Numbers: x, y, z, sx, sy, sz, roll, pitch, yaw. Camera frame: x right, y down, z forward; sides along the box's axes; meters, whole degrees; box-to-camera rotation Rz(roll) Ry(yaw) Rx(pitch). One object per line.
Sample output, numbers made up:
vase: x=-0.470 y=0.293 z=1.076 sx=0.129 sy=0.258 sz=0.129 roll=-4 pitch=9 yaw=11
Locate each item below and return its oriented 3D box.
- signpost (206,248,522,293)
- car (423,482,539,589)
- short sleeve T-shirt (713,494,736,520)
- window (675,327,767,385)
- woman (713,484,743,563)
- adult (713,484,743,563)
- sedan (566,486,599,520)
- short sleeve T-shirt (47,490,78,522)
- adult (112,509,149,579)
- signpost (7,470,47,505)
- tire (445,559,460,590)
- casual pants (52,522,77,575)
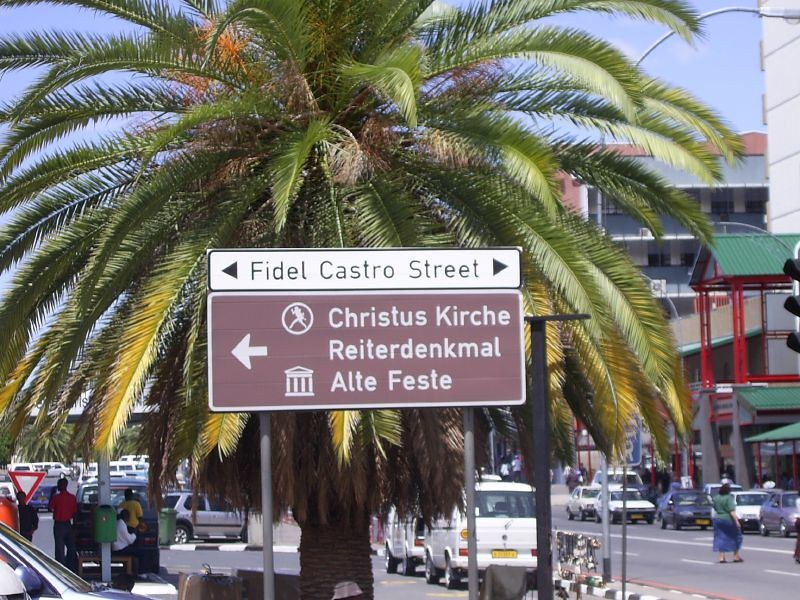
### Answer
signpost: x=-0.301 y=-0.265 z=12.593 sx=2.866 sy=0.383 sz=0.120 roll=-1 pitch=-11 yaw=-6
car: x=1.765 y=4.962 z=28.468 sx=1.847 sy=2.160 sz=3.595 roll=5 pitch=-10 yaw=-12
short sleeve T-shirt: x=7.518 y=4.742 z=31.421 sx=0.398 sy=0.590 sz=0.758 roll=-1 pitch=-12 yaw=-2
window: x=15.442 y=2.756 z=65.842 sx=4.206 sy=2.211 sz=6.897 roll=-11 pitch=-1 yaw=15
woman: x=7.594 y=5.093 z=31.731 sx=0.546 sy=1.966 sz=0.598 roll=-4 pitch=14 yaw=8
adult: x=7.584 y=5.086 z=31.741 sx=0.579 sy=1.948 sz=0.551 roll=-4 pitch=14 yaw=5
sedan: x=7.333 y=8.031 z=54.129 sx=0.719 sy=0.822 sz=1.649 roll=2 pitch=-13 yaw=-14
short sleeve T-shirt: x=-6.365 y=3.933 z=26.053 sx=0.625 sy=0.870 sz=0.452 roll=1 pitch=-4 yaw=-10
adult: x=-5.063 y=4.608 z=25.877 sx=0.568 sy=1.309 sz=0.532 roll=5 pitch=-8 yaw=-29
signpost: x=-7.175 y=3.563 z=26.387 sx=0.623 sy=0.589 sz=1.007 roll=1 pitch=-13 yaw=-14
tire: x=1.090 y=5.449 z=27.198 sx=0.183 sy=0.597 sz=0.535 roll=3 pitch=14 yaw=-15
casual pants: x=-6.450 y=4.547 z=26.070 sx=0.193 sy=0.739 sz=0.283 roll=12 pitch=-14 yaw=45
